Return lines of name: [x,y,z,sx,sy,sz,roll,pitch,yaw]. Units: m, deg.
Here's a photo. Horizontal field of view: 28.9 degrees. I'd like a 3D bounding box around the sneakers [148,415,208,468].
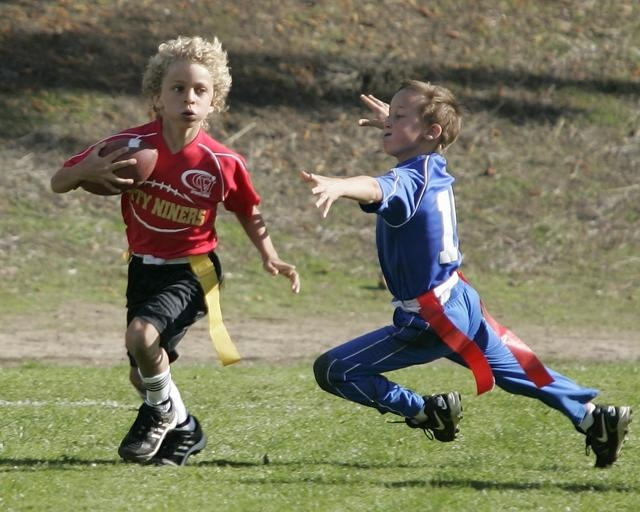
sneakers: [-1.157,1.538,10.384,0.246,0.253,0.594,26,43,24]
